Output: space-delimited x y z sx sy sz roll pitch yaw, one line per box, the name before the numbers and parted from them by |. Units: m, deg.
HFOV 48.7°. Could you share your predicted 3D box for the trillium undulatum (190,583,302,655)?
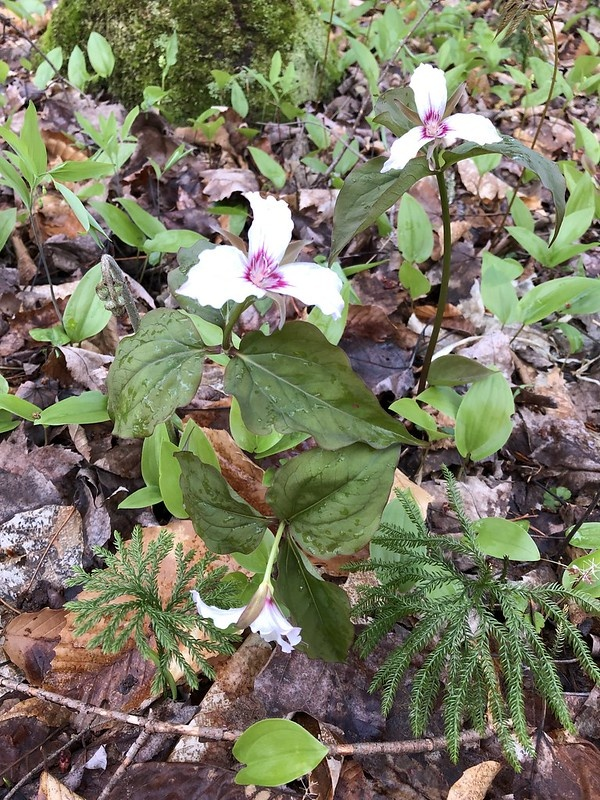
trillium undulatum | -0.122 0.547 1.817 0.233 0.071 0.234 5 17 31
